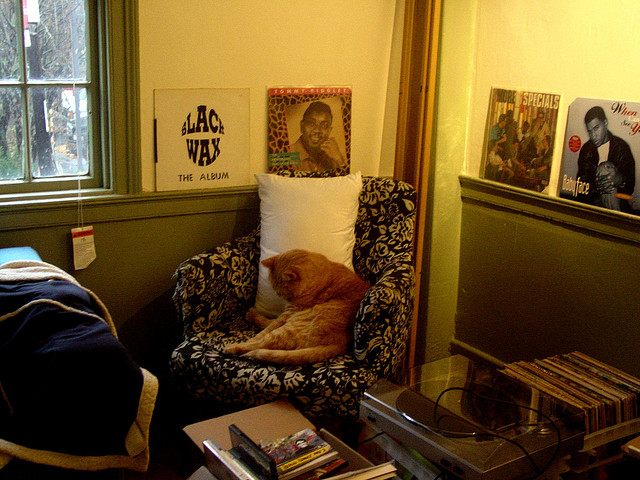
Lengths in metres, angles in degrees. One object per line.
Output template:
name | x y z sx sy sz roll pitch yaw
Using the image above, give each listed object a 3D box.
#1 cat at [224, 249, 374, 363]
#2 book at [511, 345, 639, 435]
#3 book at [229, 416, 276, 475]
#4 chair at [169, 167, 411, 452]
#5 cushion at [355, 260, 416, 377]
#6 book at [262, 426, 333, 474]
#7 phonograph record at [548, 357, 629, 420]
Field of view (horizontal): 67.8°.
cat | -0.081 0.313 2.096 0.518 0.316 0.780 3 30 16
book | 0.965 0.527 1.765 0.225 0.099 0.296 -4 26 -9
book | -0.204 0.622 1.433 0.018 0.084 0.134 -16 30 -31
chair | -0.121 0.355 2.263 0.935 1.235 1.060 6 9 16
cushion | 0.292 0.326 2.054 0.249 0.453 0.261 9 19 16
book | -0.070 0.631 1.453 0.147 0.020 0.108 -16 20 -23
phonograph record | 0.930 0.538 1.773 0.244 0.109 0.303 2 20 -11
